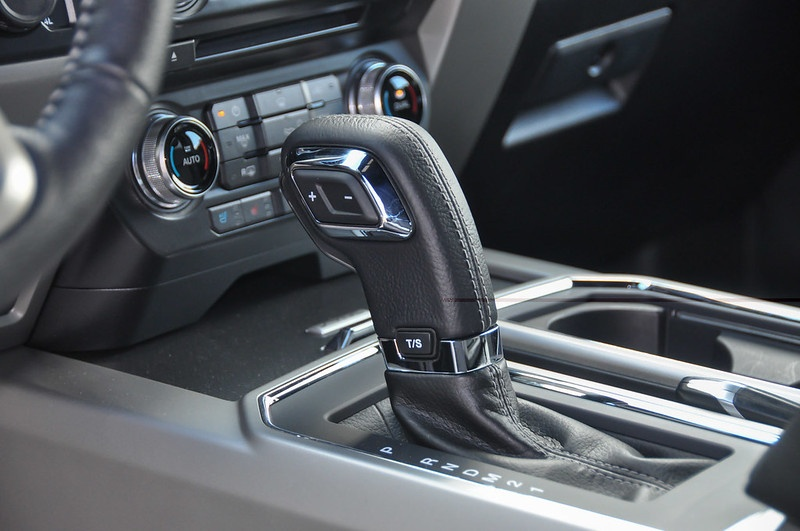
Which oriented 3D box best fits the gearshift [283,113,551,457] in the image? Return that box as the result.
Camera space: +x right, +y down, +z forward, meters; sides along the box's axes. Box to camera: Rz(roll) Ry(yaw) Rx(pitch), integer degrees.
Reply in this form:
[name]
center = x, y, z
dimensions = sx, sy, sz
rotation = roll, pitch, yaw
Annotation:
[gearshift]
center = 0.024, 0.022, 0.673
dimensions = 0.347, 0.325, 0.106
rotation = 28, 41, 34
